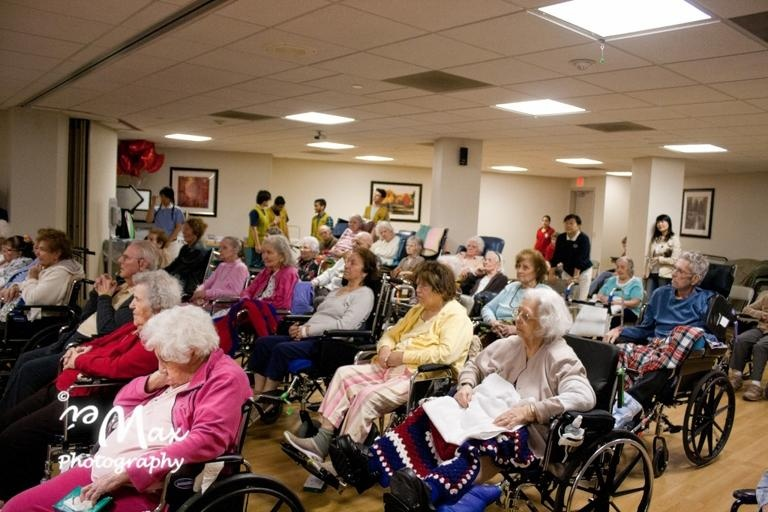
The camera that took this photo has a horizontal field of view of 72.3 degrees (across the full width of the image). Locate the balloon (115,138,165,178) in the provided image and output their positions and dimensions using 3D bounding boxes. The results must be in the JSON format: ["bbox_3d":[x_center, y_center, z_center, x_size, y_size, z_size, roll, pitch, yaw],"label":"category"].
[{"bbox_3d":[-5.352,-2.135,11.547,0.785,0.784,0.494,22,-4,-21],"label":"balloon"}]

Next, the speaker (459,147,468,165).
[{"bbox_3d":[1.382,-1.739,9.200,0.191,0.325,0.064,-1,7,-34],"label":"speaker"}]

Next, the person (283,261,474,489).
[{"bbox_3d":[-0.010,0.855,3.931,1.449,1.539,0.838,-1,12,-33],"label":"person"}]

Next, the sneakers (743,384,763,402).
[{"bbox_3d":[4.092,1.499,5.854,0.153,0.170,0.400,-4,-6,41],"label":"sneakers"}]

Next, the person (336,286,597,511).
[{"bbox_3d":[0.541,0.895,3.306,1.274,1.392,0.834,0,6,-26],"label":"person"}]

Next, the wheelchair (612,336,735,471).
[{"bbox_3d":[2.620,1.066,4.598,0.909,1.101,0.719,-19,20,-30],"label":"wheelchair"}]
